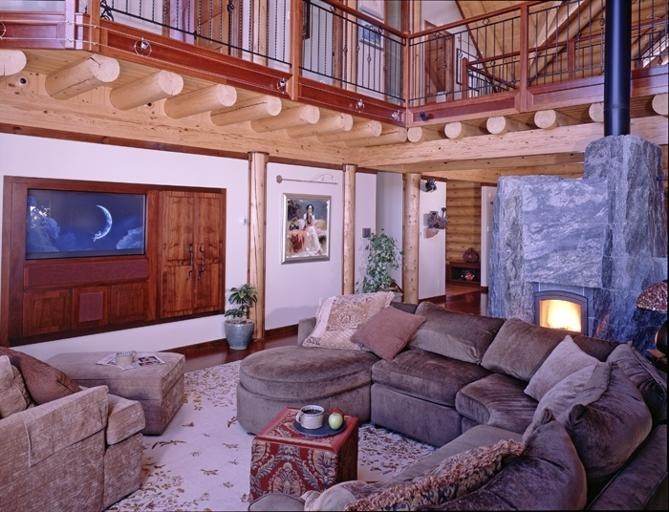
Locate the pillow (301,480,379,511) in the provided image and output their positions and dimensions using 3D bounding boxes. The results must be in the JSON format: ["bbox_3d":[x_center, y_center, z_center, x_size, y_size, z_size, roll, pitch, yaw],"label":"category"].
[{"bbox_3d":[0.029,1.171,2.376,0.282,0.091,0.245,2,-9,-36],"label":"pillow"}]

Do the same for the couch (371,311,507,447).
[{"bbox_3d":[0.990,1.018,4.571,1.027,0.964,1.083,2,2,41],"label":"couch"}]

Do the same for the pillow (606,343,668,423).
[{"bbox_3d":[1.793,0.786,2.982,0.104,0.356,0.353,-30,23,17],"label":"pillow"}]

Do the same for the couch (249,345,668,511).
[{"bbox_3d":[1.048,1.019,2.948,1.556,0.520,1.375,-4,5,-37],"label":"couch"}]

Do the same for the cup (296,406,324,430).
[{"bbox_3d":[-0.167,1.100,3.323,0.119,0.074,0.149,4,5,35],"label":"cup"}]

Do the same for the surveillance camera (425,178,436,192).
[{"bbox_3d":[2.042,-1.507,10.344,0.257,0.119,0.216,9,-3,-32],"label":"surveillance camera"}]
